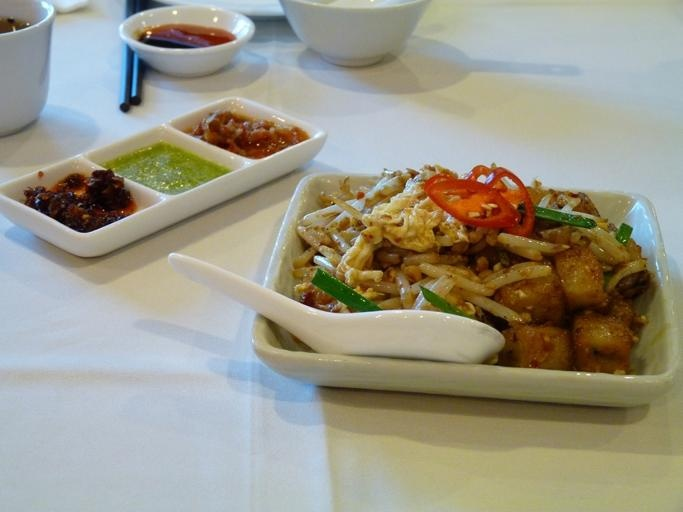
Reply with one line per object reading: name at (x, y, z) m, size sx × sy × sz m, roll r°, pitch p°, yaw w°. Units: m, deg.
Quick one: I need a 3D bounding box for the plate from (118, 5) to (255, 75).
plate at (-0.654, -0.936, 2.458) m, size 0.505 × 0.147 × 0.423 m, roll -8°, pitch 37°, yaw -14°

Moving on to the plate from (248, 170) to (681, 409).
plate at (0.262, 0.112, 1.160) m, size 0.864 × 0.173 × 0.547 m, roll 5°, pitch 40°, yaw 7°
